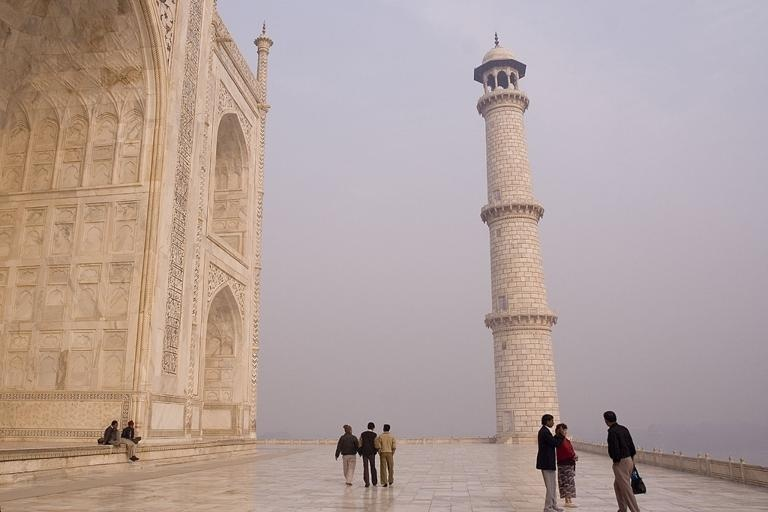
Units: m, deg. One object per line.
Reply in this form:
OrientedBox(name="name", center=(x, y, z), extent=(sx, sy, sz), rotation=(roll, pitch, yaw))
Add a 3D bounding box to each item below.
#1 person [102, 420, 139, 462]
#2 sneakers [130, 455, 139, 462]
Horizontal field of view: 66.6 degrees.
OrientedBox(name="person", center=(-6.525, 4.592, 14.464), extent=(0.918, 1.000, 0.466), rotation=(5, -16, -25))
OrientedBox(name="sneakers", center=(-6.166, 5.010, 14.432), extent=(0.177, 0.164, 0.080), rotation=(1, -3, -11))
